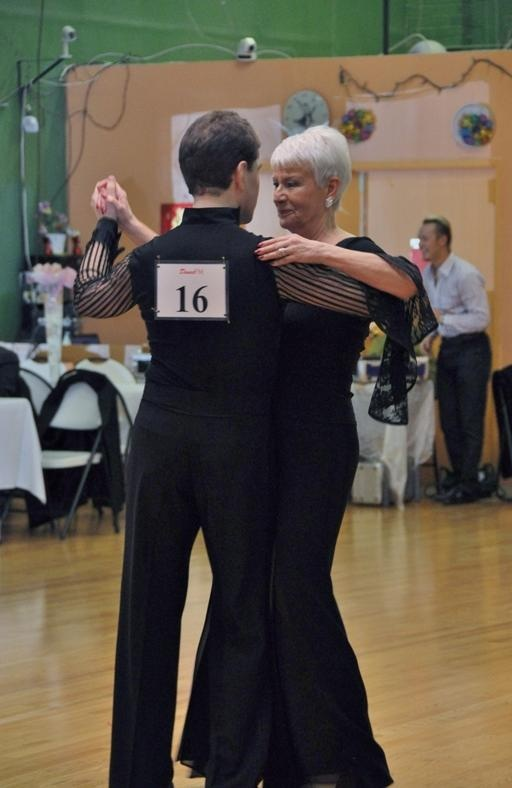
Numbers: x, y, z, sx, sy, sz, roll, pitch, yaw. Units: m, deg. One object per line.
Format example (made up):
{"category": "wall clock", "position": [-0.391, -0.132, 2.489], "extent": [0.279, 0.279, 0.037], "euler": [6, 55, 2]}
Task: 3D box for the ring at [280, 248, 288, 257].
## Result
{"category": "ring", "position": [0.041, -0.223, 1.367], "extent": [0.009, 0.012, 0.011], "euler": [4, 1, 22]}
